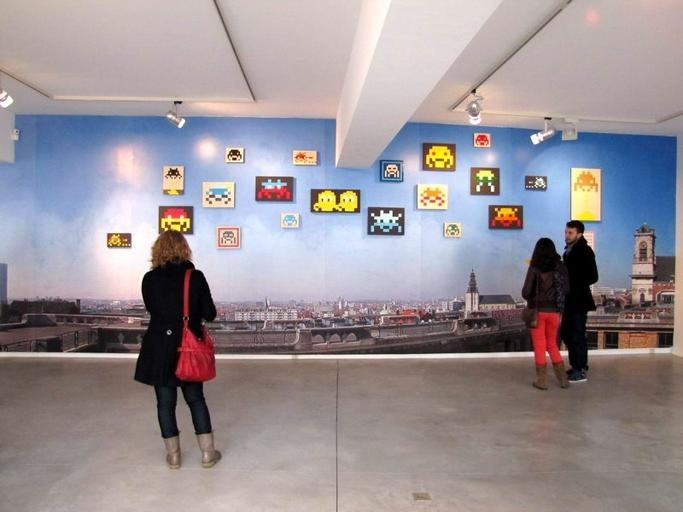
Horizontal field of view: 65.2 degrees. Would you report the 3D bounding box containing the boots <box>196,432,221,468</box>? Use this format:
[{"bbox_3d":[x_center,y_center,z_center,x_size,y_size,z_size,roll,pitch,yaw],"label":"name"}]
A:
[{"bbox_3d":[-1.146,1.671,4.652,0.141,0.291,0.293,-11,-7,5],"label":"boots"}]

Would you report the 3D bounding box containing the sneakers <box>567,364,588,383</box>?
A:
[{"bbox_3d":[2.842,1.432,6.445,0.330,0.220,0.134,1,-3,11],"label":"sneakers"}]

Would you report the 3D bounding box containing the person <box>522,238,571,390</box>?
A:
[{"bbox_3d":[2.344,0.682,6.145,0.593,1.734,0.381,-3,11,-13],"label":"person"}]

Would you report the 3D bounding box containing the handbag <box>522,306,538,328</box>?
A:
[{"bbox_3d":[2.142,0.703,6.051,0.162,0.232,0.086,7,13,31],"label":"handbag"}]

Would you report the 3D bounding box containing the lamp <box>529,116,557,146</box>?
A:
[{"bbox_3d":[2.920,-1.815,7.778,0.304,0.385,0.746,4,13,18],"label":"lamp"}]

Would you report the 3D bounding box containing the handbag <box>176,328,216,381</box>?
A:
[{"bbox_3d":[-1.225,0.825,4.443,0.372,0.489,0.253,8,-14,-44],"label":"handbag"}]

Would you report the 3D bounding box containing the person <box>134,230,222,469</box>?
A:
[{"bbox_3d":[-1.406,0.790,4.566,0.675,1.970,0.520,-3,11,-13],"label":"person"}]
